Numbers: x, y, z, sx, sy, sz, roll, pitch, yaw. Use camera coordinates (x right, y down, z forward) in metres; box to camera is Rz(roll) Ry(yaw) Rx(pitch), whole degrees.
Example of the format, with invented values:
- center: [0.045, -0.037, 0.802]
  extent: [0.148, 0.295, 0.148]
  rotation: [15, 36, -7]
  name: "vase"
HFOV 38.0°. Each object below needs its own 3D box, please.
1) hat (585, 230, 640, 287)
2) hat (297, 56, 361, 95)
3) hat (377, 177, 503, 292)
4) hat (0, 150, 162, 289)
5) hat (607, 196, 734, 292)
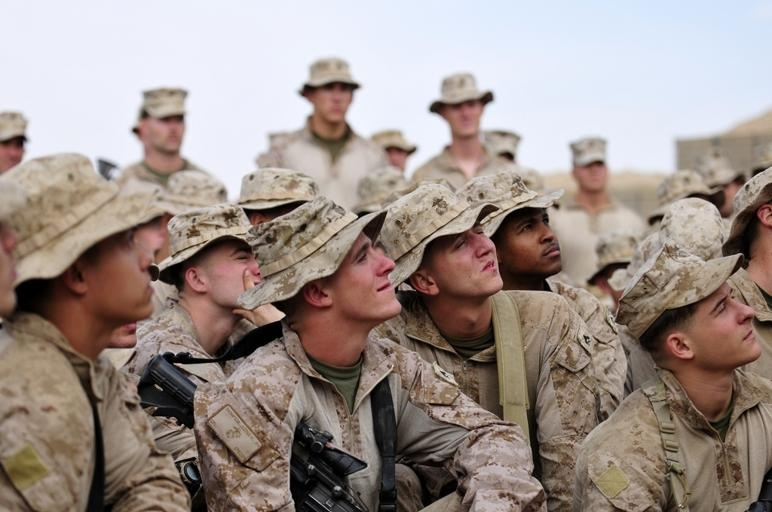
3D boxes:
- center: [3.003, -0.014, 14.353]
  extent: [0.643, 0.344, 0.614]
  rotation: [-25, 0, -38]
  name: "hat"
- center: [-0.642, -2.123, 12.665]
  extent: [0.511, 0.295, 0.595]
  rotation: [-19, 25, -40]
  name: "hat"
- center: [0.302, -0.237, 8.564]
  extent: [0.829, 0.330, 0.756]
  rotation: [-34, 9, 39]
  name: "hat"
- center: [-1.912, -0.199, 6.887]
  extent: [1.003, 0.373, 0.914]
  rotation: [-36, 6, -36]
  name: "hat"
- center: [2.633, -0.220, 9.931]
  extent: [0.833, 0.470, 1.073]
  rotation: [-28, 1, 10]
  name: "hat"
